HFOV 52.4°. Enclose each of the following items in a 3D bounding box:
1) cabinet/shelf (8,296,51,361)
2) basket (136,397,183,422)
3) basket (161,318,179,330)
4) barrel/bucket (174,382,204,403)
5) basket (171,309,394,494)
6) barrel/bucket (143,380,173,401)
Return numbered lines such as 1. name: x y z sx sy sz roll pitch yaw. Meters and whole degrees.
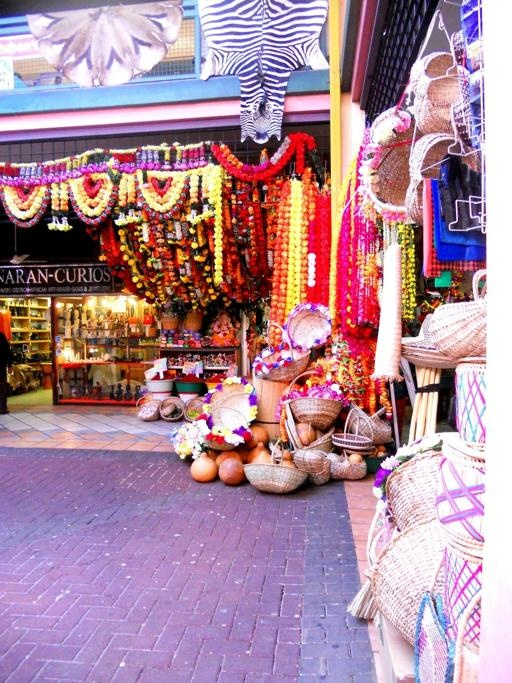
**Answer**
1. cabinet/shelf: -5.134 -0.265 11.891 0.537 1.489 1.636 0 0 -3
2. basket: -1.281 0.933 7.023 0.519 0.364 0.209 6 -37 2
3. basket: -1.307 -0.263 7.845 0.203 0.161 0.197 0 -6 14
4. barrel/bucket: -0.933 0.737 7.219 0.295 0.276 0.299 -1 -10 0
5. basket: 0.251 0.392 4.278 1.538 1.413 1.161 0 1 -33
6. barrel/bucket: -1.407 0.701 7.545 0.294 0.219 0.304 -2 -3 0
